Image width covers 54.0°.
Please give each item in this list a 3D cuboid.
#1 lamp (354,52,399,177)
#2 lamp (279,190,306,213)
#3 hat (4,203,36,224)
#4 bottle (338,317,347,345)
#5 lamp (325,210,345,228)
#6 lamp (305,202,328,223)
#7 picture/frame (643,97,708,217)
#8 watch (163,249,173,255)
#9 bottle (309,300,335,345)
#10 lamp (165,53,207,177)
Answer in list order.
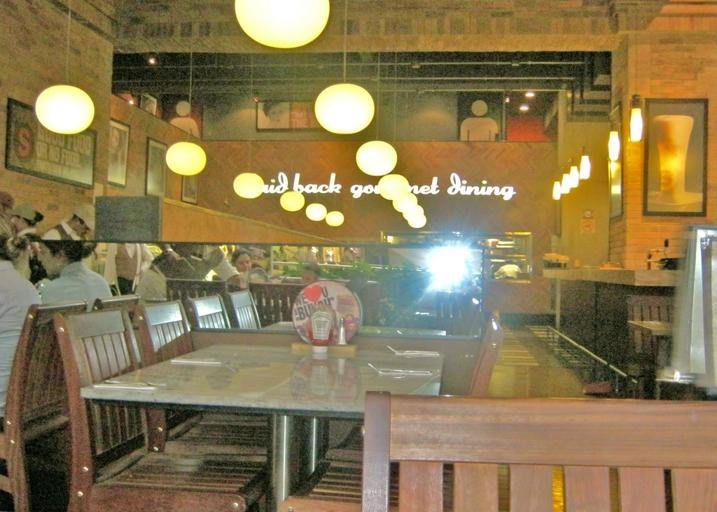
[{"bbox_3d":[0.253,-1.575,7.489,0.445,1.525,0.458,5,-1,2],"label":"lamp"},{"bbox_3d":[-1.157,-0.950,12.343,0.385,0.314,0.275,1,11,-16],"label":"lamp"},{"bbox_3d":[-3.548,-0.438,7.384,0.243,0.100,0.174,9,-2,-7],"label":"hat"},{"bbox_3d":[-0.104,0.476,4.466,0.056,0.163,0.096,3,11,-4],"label":"bottle"},{"bbox_3d":[-0.450,-0.678,13.392,0.355,0.319,0.269,4,11,3],"label":"lamp"},{"bbox_3d":[-0.762,-0.823,12.650,0.352,0.201,0.372,-4,-32,7],"label":"lamp"},{"bbox_3d":[3.797,-1.177,8.476,0.792,1.385,0.313,6,12,13],"label":"picture/frame"},{"bbox_3d":[-1.340,-0.033,4.988,0.064,0.035,0.013,3,11,-7],"label":"watch"},{"bbox_3d":[-0.234,0.443,4.428,0.145,0.270,0.097,2,38,-2],"label":"bottle"},{"bbox_3d":[-2.011,-1.706,8.482,0.421,1.514,0.438,7,2,44],"label":"lamp"}]
